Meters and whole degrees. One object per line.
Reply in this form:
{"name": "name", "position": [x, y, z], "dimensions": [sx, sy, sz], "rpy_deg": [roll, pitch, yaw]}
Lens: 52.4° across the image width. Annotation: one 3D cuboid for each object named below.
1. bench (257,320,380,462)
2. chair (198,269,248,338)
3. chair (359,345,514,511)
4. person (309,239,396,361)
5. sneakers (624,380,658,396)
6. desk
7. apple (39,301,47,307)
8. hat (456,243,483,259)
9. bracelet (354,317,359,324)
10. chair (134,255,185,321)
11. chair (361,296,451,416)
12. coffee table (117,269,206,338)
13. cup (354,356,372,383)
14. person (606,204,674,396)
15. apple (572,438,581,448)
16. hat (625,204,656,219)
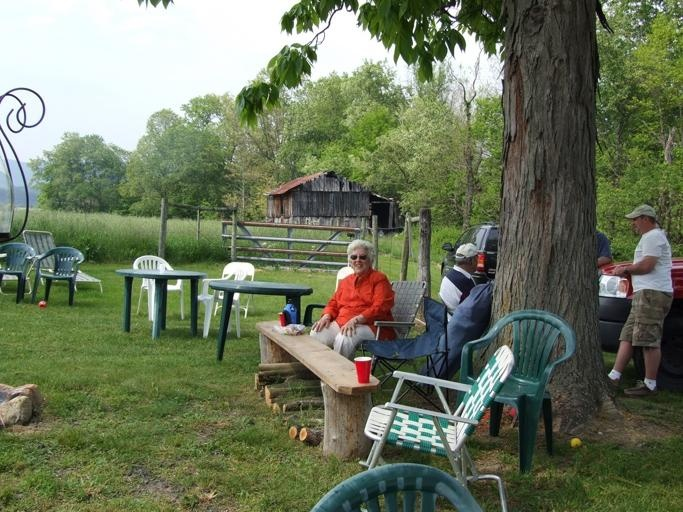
{"name": "bench", "position": [-0.370, 1.265, 7.341], "dimensions": [0.548, 0.763, 2.757], "rpy_deg": [-1, 7, -18]}
{"name": "chair", "position": [-1.908, 0.731, 10.909], "dimensions": [0.738, 1.100, 0.765], "rpy_deg": [-6, -6, 42]}
{"name": "chair", "position": [0.789, 1.250, 5.805], "dimensions": [1.277, 1.413, 1.028], "rpy_deg": [2, 5, 14]}
{"name": "person", "position": [0.101, 0.728, 7.938], "dimensions": [0.791, 1.842, 0.990], "rpy_deg": [-2, -6, 38]}
{"name": "sneakers", "position": [3.378, 1.494, 7.869], "dimensions": [0.336, 0.172, 0.140], "rpy_deg": [0, -4, 6]}
{"name": "desk", "position": [-1.055, 0.948, 9.217], "dimensions": [1.348, 1.105, 1.435], "rpy_deg": [4, 3, -8]}
{"name": "apple", "position": [-5.178, 0.840, 12.101], "dimensions": [0.080, 0.100, 0.110], "rpy_deg": [3, -1, -2]}
{"name": "hat", "position": [1.507, -0.061, 8.235], "dimensions": [0.161, 0.113, 0.246], "rpy_deg": [2, 8, 29]}
{"name": "bracelet", "position": [0.170, 0.710, 7.599], "dimensions": [0.066, 0.097, 0.048], "rpy_deg": [5, -12, -39]}
{"name": "chair", "position": [-3.074, 0.512, 11.689], "dimensions": [0.708, 1.079, 0.734], "rpy_deg": [2, 4, 35]}
{"name": "chair", "position": [0.680, 1.025, 7.258], "dimensions": [0.764, 1.100, 0.742], "rpy_deg": [0, 10, -8]}
{"name": "coffee table", "position": [-2.572, 0.541, 10.115], "dimensions": [1.033, 0.858, 1.029], "rpy_deg": [-1, 4, -34]}
{"name": "cup", "position": [0.202, 1.002, 6.222], "dimensions": [0.173, 0.208, 0.188], "rpy_deg": [0, 6, 0]}
{"name": "person", "position": [3.335, 0.519, 7.698], "dimensions": [0.591, 2.055, 0.758], "rpy_deg": [5, 12, 22]}
{"name": "apple", "position": [2.196, 1.733, 6.502], "dimensions": [0.067, 0.079, 0.073], "rpy_deg": [1, 9, 18]}
{"name": "hat", "position": [3.346, -0.472, 7.895], "dimensions": [0.400, 0.192, 0.275], "rpy_deg": [1, 1, 32]}
